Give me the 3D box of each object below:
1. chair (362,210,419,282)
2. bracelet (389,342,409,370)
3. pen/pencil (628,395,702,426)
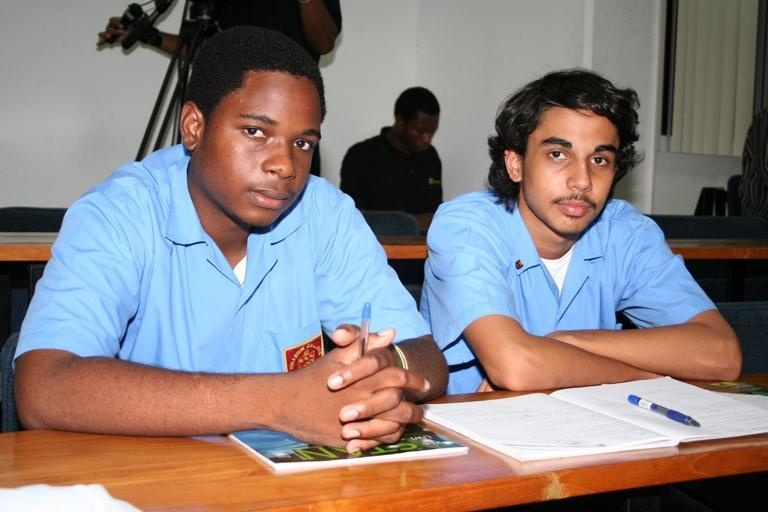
[{"bbox_3d":[0.028,0.013,2.723,0.285,0.178,0.410,1,33,0],"label":"chair"},{"bbox_3d":[0.038,0.219,1.300,0.011,0.042,0.045,-30,5,6],"label":"bracelet"},{"bbox_3d":[0.554,0.301,1.198,0.021,0.028,0.166,10,5,-33],"label":"pen/pencil"}]
